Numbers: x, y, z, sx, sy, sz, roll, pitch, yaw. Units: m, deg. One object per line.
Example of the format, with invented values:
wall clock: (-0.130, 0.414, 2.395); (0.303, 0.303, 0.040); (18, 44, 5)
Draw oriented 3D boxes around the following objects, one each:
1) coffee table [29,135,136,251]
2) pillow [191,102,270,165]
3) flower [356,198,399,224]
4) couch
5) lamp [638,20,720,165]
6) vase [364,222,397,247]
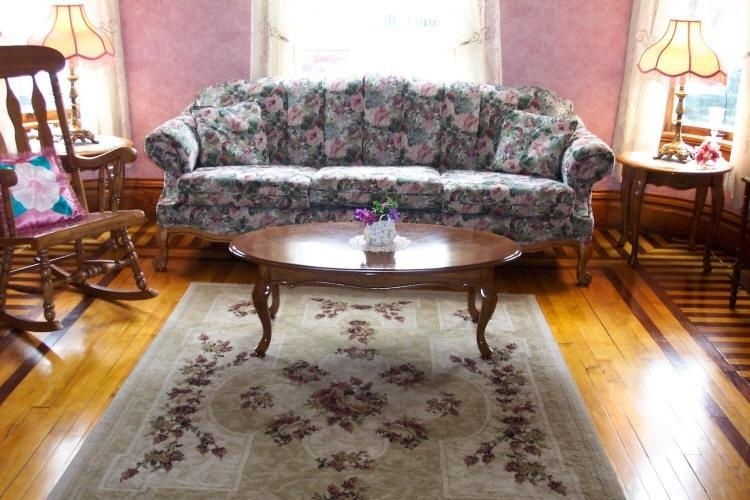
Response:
coffee table: (-2.194, -0.452, 4.199); (0.981, 0.601, 0.851); (2, 19, -3)
pillow: (-1.087, -0.887, 4.214); (0.589, 0.466, 0.165); (-11, 2, -30)
flower: (0.006, -0.225, 3.010); (0.217, 0.135, 0.222); (-3, 24, -6)
couch: (0.020, -0.630, 4.314); (3.274, 1.197, 0.949); (3, 35, 7)
lamp: (2.247, -1.193, 4.078); (0.358, 0.982, 0.550); (-18, 31, -32)
vase: (0.032, -0.092, 2.991); (0.162, 0.113, 0.146); (-1, 5, -1)
